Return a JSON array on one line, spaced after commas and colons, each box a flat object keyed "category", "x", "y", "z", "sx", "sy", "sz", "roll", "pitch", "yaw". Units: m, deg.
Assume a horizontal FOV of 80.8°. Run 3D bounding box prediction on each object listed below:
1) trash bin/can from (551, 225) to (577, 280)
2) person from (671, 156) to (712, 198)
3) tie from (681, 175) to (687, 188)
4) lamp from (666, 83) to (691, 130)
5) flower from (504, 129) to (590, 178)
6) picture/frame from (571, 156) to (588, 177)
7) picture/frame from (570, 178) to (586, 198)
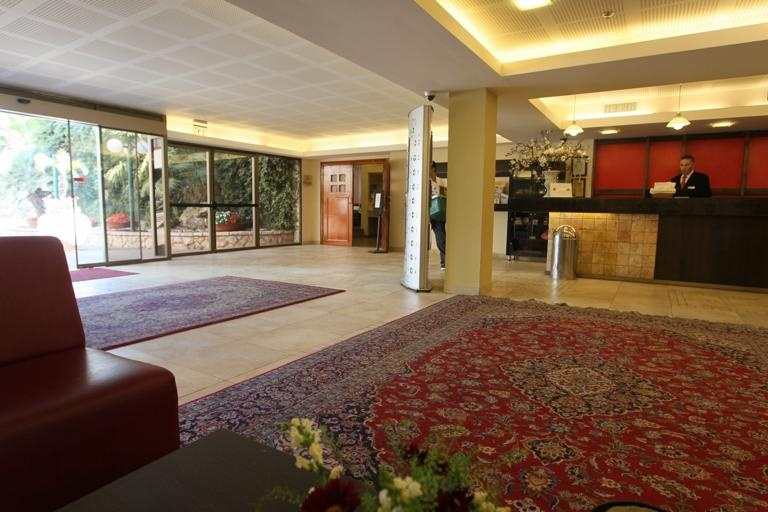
[{"category": "trash bin/can", "x": 3.066, "y": -0.060, "z": 7.628, "sx": 0.436, "sy": 0.846, "sz": 0.452, "roll": 7, "pitch": 10, "yaw": 44}, {"category": "person", "x": 4.891, "y": -1.251, "z": 7.170, "sx": 0.473, "sy": 0.616, "sz": 0.796, "roll": 8, "pitch": 16, "yaw": 22}, {"category": "tie", "x": 4.882, "y": -1.214, "z": 7.365, "sx": 0.048, "sy": 0.160, "sz": 0.131, "roll": 8, "pitch": 1, "yaw": 4}, {"category": "lamp", "x": 5.147, "y": -2.557, "z": 7.835, "sx": 0.313, "sy": 0.699, "sz": 1.393, "roll": 11, "pitch": 17, "yaw": 31}, {"category": "flower", "x": 3.340, "y": -2.126, "z": 9.599, "sx": 1.075, "sy": 0.539, "sz": 1.209, "roll": -11, "pitch": 5, "yaw": 8}, {"category": "picture/frame", "x": 4.241, "y": -1.937, "z": 9.813, "sx": 0.487, "sy": 0.545, "sz": 0.068, "roll": 5, "pitch": 6, "yaw": 39}, {"category": "picture/frame", "x": 4.284, "y": -1.523, "z": 9.964, "sx": 0.301, "sy": 0.398, "sz": 0.152, "roll": -1, "pitch": 17, "yaw": -6}]
